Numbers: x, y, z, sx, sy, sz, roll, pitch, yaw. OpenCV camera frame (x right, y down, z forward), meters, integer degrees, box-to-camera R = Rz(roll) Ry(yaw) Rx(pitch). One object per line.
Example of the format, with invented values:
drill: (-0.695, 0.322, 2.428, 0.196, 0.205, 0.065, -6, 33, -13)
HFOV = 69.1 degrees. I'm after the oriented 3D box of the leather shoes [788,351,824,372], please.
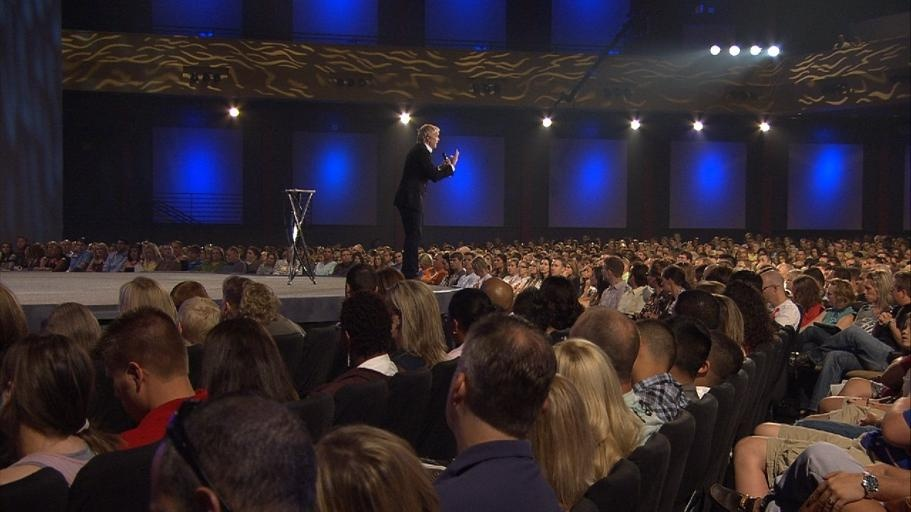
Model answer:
leather shoes: (4.403, 1.316, 8.306, 0.382, 0.140, 0.246, -7, 7, 14)
